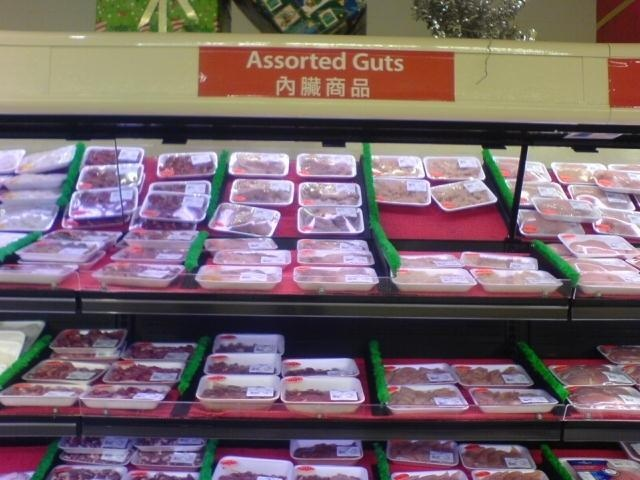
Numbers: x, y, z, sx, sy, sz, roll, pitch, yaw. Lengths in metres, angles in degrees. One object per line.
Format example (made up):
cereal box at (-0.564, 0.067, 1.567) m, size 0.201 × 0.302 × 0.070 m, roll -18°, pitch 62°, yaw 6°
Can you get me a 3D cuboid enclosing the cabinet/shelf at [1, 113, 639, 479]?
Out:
cabinet/shelf at (-0.038, 0.191, 2.736) m, size 3.507 × 0.888 × 1.636 m, roll 0°, pitch 38°, yaw -5°
